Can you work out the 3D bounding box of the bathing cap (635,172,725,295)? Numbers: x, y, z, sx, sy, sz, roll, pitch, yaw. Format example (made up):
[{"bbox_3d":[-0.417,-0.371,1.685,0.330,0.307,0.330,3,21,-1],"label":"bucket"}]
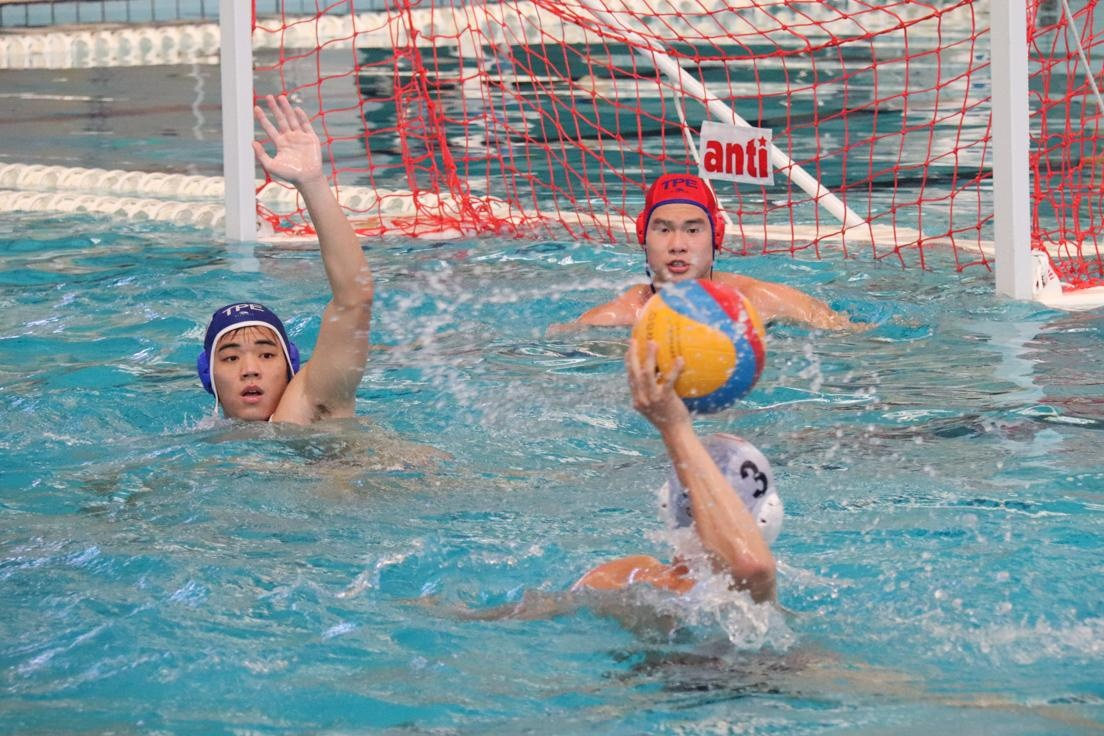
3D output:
[{"bbox_3d":[0.537,-0.613,4.160,0.356,0.434,0.239,-2,6,4],"label":"bathing cap"}]

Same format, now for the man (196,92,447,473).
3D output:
[{"bbox_3d":[-0.715,-0.258,3.040,0.511,1.131,0.638,-7,7,-34],"label":"man"}]

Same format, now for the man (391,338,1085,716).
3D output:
[{"bbox_3d":[0.358,0.303,2.114,1.374,0.347,0.957,5,-6,27],"label":"man"}]

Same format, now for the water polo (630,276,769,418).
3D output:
[{"bbox_3d":[0.291,-0.044,2.073,0.283,0.262,0.118,-4,6,-30],"label":"water polo"}]
